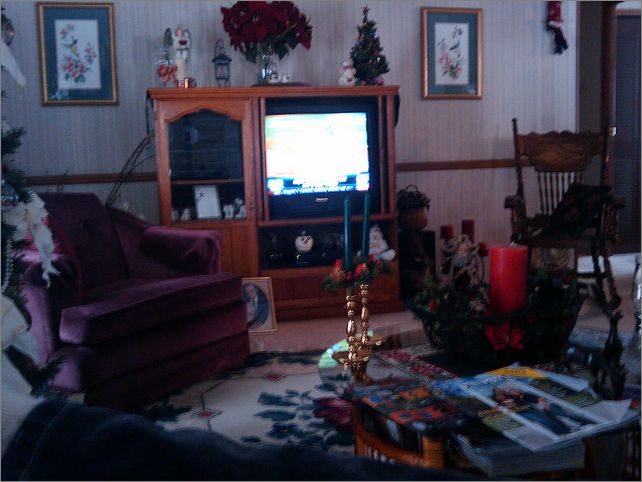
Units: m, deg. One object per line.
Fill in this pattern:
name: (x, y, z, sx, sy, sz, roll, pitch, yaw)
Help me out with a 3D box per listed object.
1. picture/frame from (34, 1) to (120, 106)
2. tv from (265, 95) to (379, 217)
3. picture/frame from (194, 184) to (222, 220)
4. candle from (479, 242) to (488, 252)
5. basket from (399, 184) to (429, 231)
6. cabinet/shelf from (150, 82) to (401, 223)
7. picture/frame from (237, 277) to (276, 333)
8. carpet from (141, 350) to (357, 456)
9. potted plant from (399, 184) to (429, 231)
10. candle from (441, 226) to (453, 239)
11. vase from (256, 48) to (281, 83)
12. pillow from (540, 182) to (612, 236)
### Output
picture/frame: (-1.718, -1.325, 3.767, 0.691, 0.916, 0.040, -2, 3, -10)
tv: (-0.022, -0.592, 3.667, 0.850, 0.810, 0.465, -2, 3, -9)
picture/frame: (-0.754, -0.263, 3.608, 0.162, 0.237, 0.069, -2, -7, -15)
candle: (1.115, 0.039, 3.744, 0.046, 0.053, 0.040, 7, -17, -41)
basket: (0.663, -0.231, 3.925, 0.279, 0.317, 0.286, 0, -2, -7)
cabinet/shelf: (-0.305, -0.451, 3.786, 1.670, 1.124, 0.277, 0, 10, 10)
picture/frame: (-0.405, 0.394, 3.360, 0.263, 0.333, 0.014, -6, -2, 32)
carpet: (-0.272, 0.694, 2.291, 0.611, 0.012, 0.643, -3, 9, -17)
potted plant: (0.681, -0.256, 4.022, 0.273, 0.324, 0.286, -2, -2, 25)
candle: (0.899, -0.065, 3.936, 0.085, 0.078, 0.086, 3, 1, 43)
vase: (-0.359, -1.215, 3.814, 0.155, 0.247, 0.148, 10, -25, -42)
pillow: (1.729, -0.209, 3.656, 0.107, 0.413, 0.384, 29, -10, -18)
